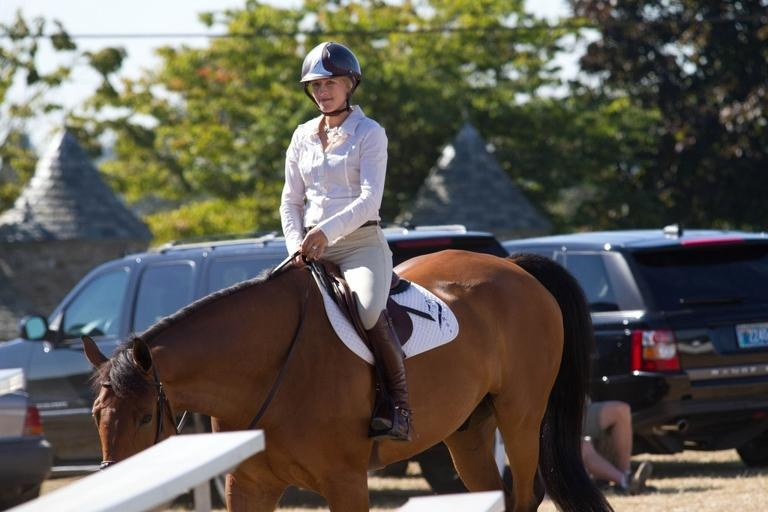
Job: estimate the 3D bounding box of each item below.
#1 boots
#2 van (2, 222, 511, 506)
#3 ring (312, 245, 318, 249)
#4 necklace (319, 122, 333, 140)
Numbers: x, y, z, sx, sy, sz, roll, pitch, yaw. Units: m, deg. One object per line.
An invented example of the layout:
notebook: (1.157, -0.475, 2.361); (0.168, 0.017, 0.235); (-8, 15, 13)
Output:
boots: (-0.008, 1.376, 21.397); (0.513, 1.513, 0.334); (-9, 6, -9)
van: (-1.791, 1.303, 24.644); (6.848, 2.977, 3.412); (0, -1, 21)
ring: (-0.821, -0.143, 21.341); (0.075, 0.056, 0.015); (-8, 6, -4)
necklace: (-0.715, -1.521, 21.658); (0.144, 0.180, 0.068); (7, -16, 10)
